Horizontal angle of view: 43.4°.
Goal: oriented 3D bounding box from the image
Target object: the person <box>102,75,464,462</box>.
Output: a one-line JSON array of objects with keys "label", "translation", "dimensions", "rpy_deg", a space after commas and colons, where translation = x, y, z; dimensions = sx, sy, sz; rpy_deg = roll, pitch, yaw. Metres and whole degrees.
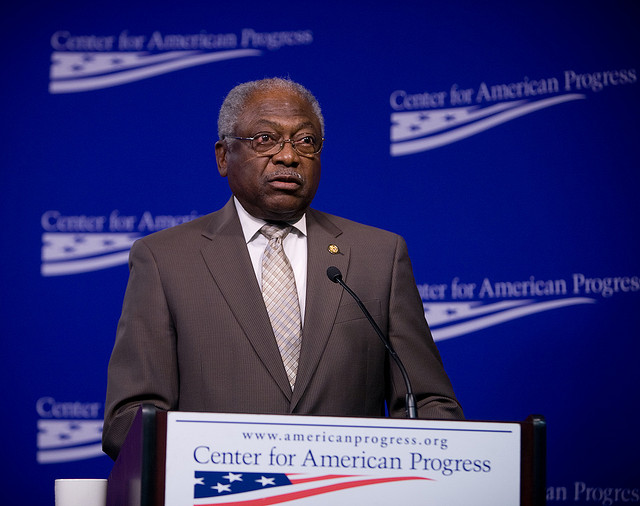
[{"label": "person", "translation": [-0.148, -0.003, 2.735], "dimensions": [1.125, 1.292, 0.417], "rpy_deg": [-1, -11, -8]}]

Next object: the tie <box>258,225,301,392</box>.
[{"label": "tie", "translation": [-0.127, 0.143, 2.734], "dimensions": [0.141, 0.885, 0.087], "rpy_deg": [-21, -56, 6]}]
